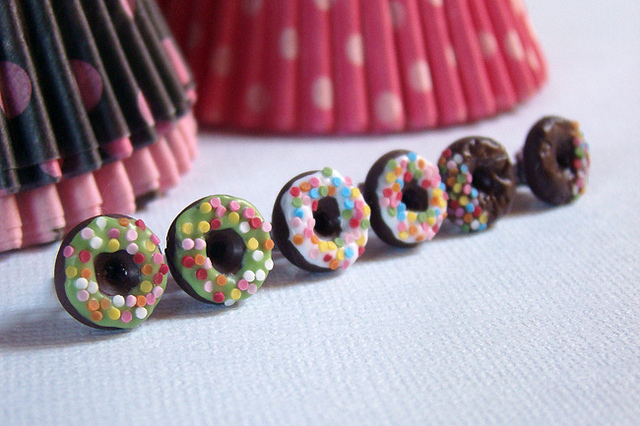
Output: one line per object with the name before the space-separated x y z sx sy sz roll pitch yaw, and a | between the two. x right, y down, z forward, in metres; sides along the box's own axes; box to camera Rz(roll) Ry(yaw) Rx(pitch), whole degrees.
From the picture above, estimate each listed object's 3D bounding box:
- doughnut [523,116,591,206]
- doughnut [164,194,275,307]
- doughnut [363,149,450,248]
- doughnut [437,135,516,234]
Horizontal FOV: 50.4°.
doughnut | 0.627 -0.134 1.862 0.197 0.236 0.068 -9 3 -42
doughnut | -0.214 0.102 1.564 0.225 0.101 0.283 1 53 -19
doughnut | 0.222 -0.038 1.701 0.201 0.258 0.079 0 -7 -33
doughnut | 0.413 -0.067 1.781 0.191 0.256 0.087 -11 1 -13
